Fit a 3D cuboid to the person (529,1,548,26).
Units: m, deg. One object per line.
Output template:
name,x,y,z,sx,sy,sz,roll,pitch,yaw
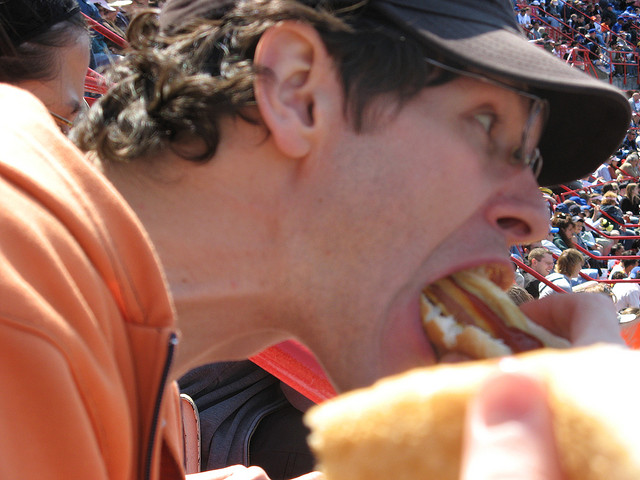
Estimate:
person,6.207,-6.474,21.631,0.578,0.960,0.290,-10,7,-43
